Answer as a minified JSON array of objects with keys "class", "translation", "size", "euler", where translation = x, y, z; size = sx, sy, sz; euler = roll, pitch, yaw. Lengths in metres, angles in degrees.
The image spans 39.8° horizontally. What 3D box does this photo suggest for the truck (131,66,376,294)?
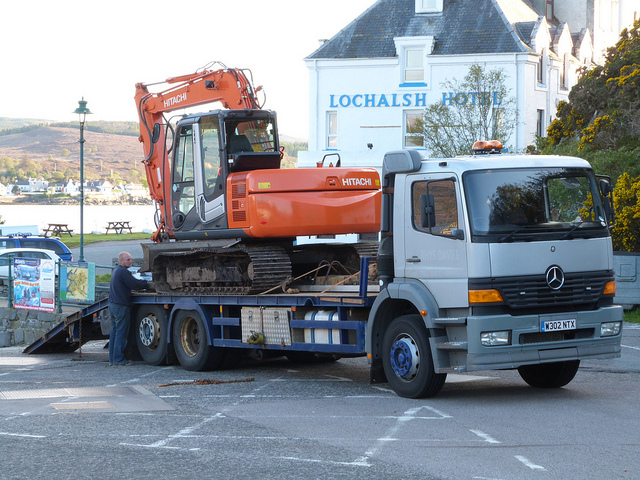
[{"class":"truck","translation":[-1.824,-1.258,17.018],"size":[2.911,4.429,5.850],"euler":[-6,2,-43]}]
